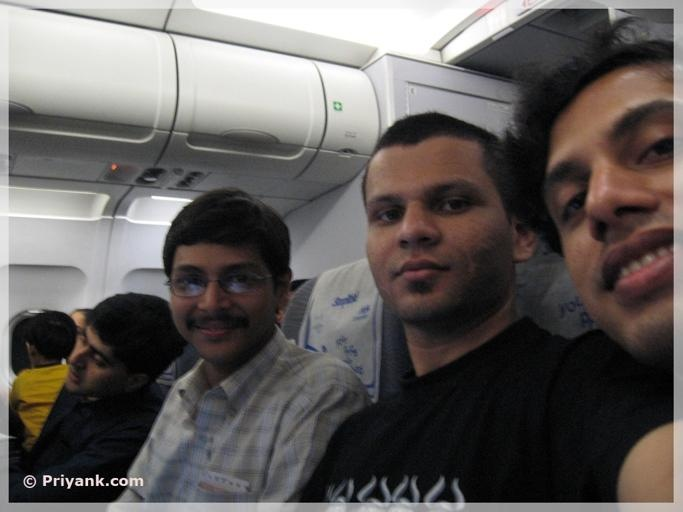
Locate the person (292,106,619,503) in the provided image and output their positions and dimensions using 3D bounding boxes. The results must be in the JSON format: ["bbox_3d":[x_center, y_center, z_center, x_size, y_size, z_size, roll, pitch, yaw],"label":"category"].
[{"bbox_3d":[0.328,0.165,1.443,0.963,0.819,0.470,-16,-29,38],"label":"person"}]

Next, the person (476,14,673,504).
[{"bbox_3d":[0.628,0.017,1.362,0.502,1.165,0.167,-9,-10,30],"label":"person"}]
